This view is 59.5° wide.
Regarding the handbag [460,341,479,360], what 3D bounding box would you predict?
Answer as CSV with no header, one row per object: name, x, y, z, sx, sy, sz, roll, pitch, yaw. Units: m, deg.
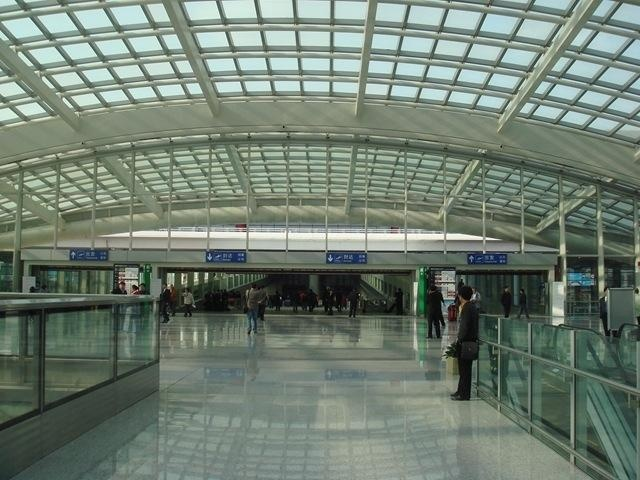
handbag,2.681,2.005,10.170,0.413,0.301,0.144,0,-11,12

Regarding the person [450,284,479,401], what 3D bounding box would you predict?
person,2.673,1.928,10.412,0.450,2.154,0.545,0,-4,3
